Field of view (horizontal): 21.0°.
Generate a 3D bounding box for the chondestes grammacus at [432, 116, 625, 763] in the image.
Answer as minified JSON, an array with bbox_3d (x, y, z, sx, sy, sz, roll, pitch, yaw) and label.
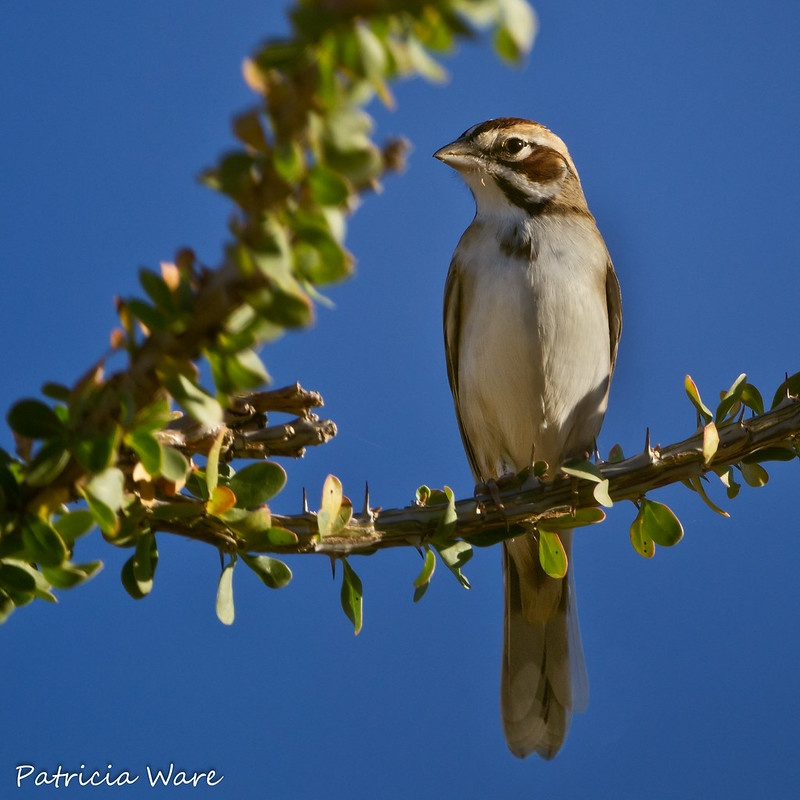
[{"bbox_3d":[0.316,0.169,4.912,0.350,0.607,1.579,-1,-80,5],"label":"chondestes grammacus"}]
